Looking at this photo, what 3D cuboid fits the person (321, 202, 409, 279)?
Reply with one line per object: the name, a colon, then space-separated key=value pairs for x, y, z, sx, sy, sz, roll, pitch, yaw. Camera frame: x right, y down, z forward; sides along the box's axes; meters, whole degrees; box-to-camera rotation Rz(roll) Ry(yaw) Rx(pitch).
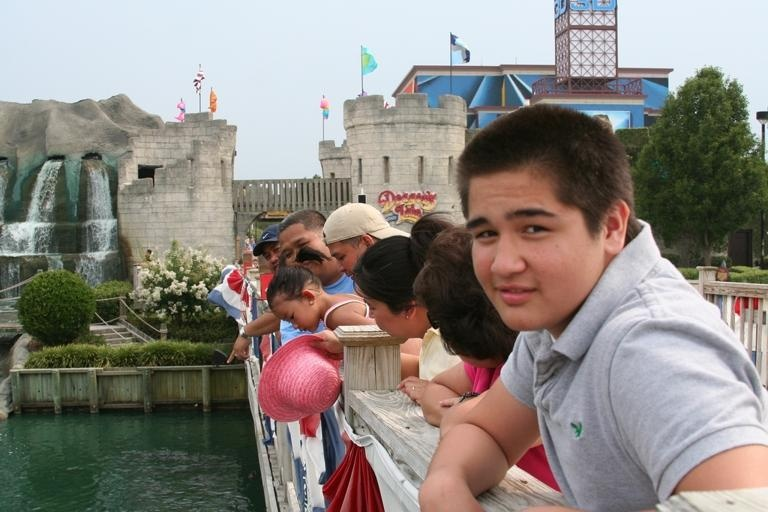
person: x=-0.292 y=-0.645 z=18.316 sx=1.885 sy=1.037 sz=1.255 roll=-7 pitch=-12 yaw=8
